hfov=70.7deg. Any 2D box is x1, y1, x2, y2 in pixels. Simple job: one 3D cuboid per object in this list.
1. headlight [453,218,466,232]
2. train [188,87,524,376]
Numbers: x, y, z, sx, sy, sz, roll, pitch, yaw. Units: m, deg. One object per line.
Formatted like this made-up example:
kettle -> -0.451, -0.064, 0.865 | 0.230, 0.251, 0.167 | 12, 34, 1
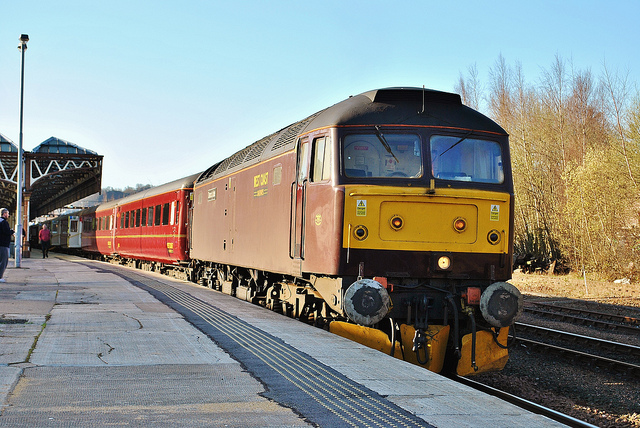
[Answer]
headlight -> 2.427, 0.198, 7.940 | 0.204, 0.225, 0.051 | 4, -4, -11
train -> -0.778, 0.420, 13.731 | 3.844, 5.367, 14.015 | 3, -1, -20
